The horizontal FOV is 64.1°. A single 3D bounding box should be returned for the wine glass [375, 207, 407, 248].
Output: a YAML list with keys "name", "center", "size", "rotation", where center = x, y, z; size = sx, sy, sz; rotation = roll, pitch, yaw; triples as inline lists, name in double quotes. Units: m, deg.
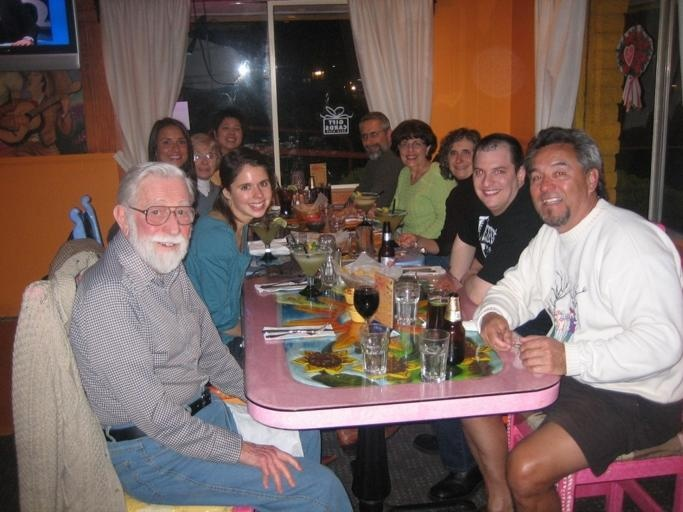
- name: "wine glass"
  center: [0.365, -0.218, 3.999]
  size: [0.246, 0.261, 0.269]
  rotation: [-2, 4, 3]

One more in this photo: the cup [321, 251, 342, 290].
- name: "cup"
  center: [-0.055, 0.080, 2.771]
  size: [0.152, 0.208, 0.154]
  rotation: [0, 3, 0]

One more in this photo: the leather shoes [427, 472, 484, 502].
- name: "leather shoes"
  center: [0.594, 1.163, 2.827]
  size: [0.272, 0.109, 0.111]
  rotation: [-5, 7, -21]

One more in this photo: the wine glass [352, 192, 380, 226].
- name: "wine glass"
  center: [0.201, -0.390, 4.536]
  size: [0.279, 0.350, 0.284]
  rotation: [-1, 5, 1]

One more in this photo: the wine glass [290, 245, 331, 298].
- name: "wine glass"
  center: [-0.133, 0.071, 2.725]
  size: [0.226, 0.202, 0.216]
  rotation: [-3, 11, -25]

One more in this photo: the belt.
- name: "belt"
  center: [-0.754, 0.606, 2.023]
  size: [0.195, 0.047, 0.198]
  rotation: [-25, -6, 23]

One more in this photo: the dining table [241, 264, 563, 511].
- name: "dining table"
  center: [0.131, 0.439, 2.094]
  size: [0.904, 0.912, 0.915]
  rotation: [-4, 22, -11]
